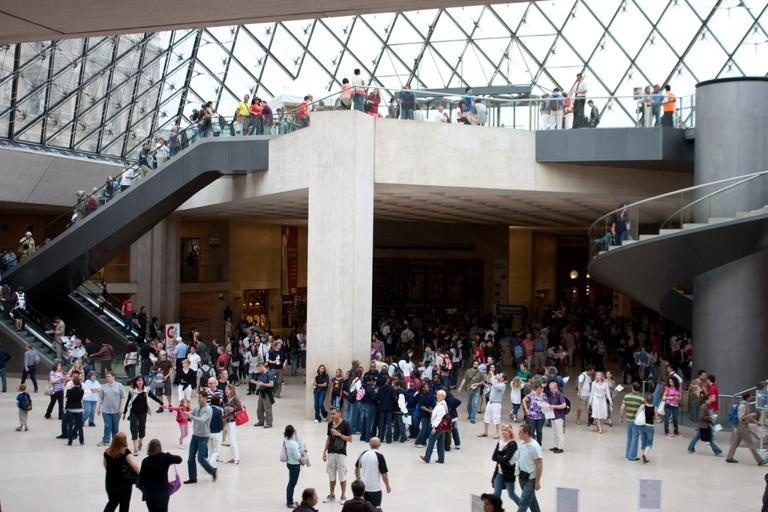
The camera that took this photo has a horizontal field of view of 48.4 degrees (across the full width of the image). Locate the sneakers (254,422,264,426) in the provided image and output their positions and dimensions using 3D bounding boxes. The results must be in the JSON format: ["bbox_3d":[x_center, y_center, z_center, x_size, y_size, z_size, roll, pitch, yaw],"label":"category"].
[{"bbox_3d":[-4.220,5.709,28.809,0.370,0.124,0.158,-3,-10,27],"label":"sneakers"}]

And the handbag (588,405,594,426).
[{"bbox_3d":[7.207,5.647,29.931,0.230,0.809,0.330,5,-7,21],"label":"handbag"}]

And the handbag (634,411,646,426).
[{"bbox_3d":[7.615,4.872,25.393,0.433,0.565,0.265,1,-6,5],"label":"handbag"}]

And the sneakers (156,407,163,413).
[{"bbox_3d":[-7.979,5.518,30.536,0.260,0.232,0.509,4,-9,-16],"label":"sneakers"}]

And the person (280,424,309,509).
[{"bbox_3d":[-2.407,5.617,22.841,0.692,2.096,1.369,2,-8,-6],"label":"person"}]

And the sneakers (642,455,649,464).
[{"bbox_3d":[7.831,6.098,25.474,0.126,0.261,0.312,-1,9,21],"label":"sneakers"}]

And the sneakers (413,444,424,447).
[{"bbox_3d":[1.118,6.002,26.762,0.267,0.123,0.102,-1,4,5],"label":"sneakers"}]

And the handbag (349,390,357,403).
[{"bbox_3d":[-1.001,4.529,27.449,0.271,0.415,0.940,2,-9,-2],"label":"handbag"}]

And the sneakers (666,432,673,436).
[{"bbox_3d":[9.501,5.978,28.431,0.087,0.102,0.242,-4,-4,-22],"label":"sneakers"}]

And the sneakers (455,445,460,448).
[{"bbox_3d":[2.322,5.981,26.625,0.169,0.111,0.182,2,-9,-4],"label":"sneakers"}]

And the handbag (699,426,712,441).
[{"bbox_3d":[9.898,5.498,26.279,0.396,0.464,0.260,-2,-9,19],"label":"handbag"}]

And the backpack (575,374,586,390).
[{"bbox_3d":[6.707,4.289,29.116,0.246,0.535,0.561,1,-8,0],"label":"backpack"}]

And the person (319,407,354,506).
[{"bbox_3d":[-1.262,5.379,23.076,0.678,2.464,1.355,2,-8,-4],"label":"person"}]

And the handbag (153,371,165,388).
[{"bbox_3d":[-7.871,4.334,30.009,0.450,0.641,0.360,6,13,10],"label":"handbag"}]

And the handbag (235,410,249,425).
[{"bbox_3d":[-4.154,4.743,24.999,0.331,0.465,0.459,2,-8,-8],"label":"handbag"}]

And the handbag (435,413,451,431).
[{"bbox_3d":[1.717,4.892,24.951,0.337,0.416,0.227,25,-13,-12],"label":"handbag"}]

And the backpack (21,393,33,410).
[{"bbox_3d":[-11.477,4.723,27.466,0.227,0.552,0.748,1,-9,-2],"label":"backpack"}]

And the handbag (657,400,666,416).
[{"bbox_3d":[9.154,5.053,28.217,0.265,0.429,0.865,-1,-9,17],"label":"handbag"}]

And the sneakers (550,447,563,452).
[{"bbox_3d":[5.324,6.054,26.420,0.405,0.184,0.132,14,-14,-19],"label":"sneakers"}]

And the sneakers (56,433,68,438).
[{"bbox_3d":[-10.098,5.677,26.870,0.216,0.183,0.639,8,-11,-39],"label":"sneakers"}]

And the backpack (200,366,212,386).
[{"bbox_3d":[-6.075,4.168,29.346,0.443,0.698,0.899,3,-9,-12],"label":"backpack"}]

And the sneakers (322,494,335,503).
[{"bbox_3d":[-1.463,6.528,22.831,0.332,0.154,0.137,3,-6,-14],"label":"sneakers"}]

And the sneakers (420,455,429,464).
[{"bbox_3d":[1.249,6.089,25.371,0.116,0.244,0.241,2,15,-28],"label":"sneakers"}]

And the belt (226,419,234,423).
[{"bbox_3d":[-4.452,4.873,25.044,0.143,0.042,0.138,3,2,38],"label":"belt"}]

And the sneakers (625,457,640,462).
[{"bbox_3d":[7.502,6.134,25.779,0.407,0.186,0.139,1,2,-20],"label":"sneakers"}]
